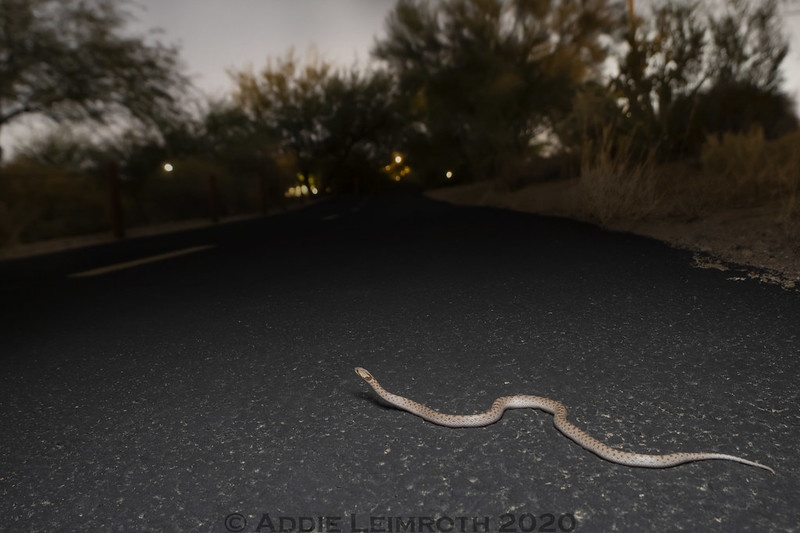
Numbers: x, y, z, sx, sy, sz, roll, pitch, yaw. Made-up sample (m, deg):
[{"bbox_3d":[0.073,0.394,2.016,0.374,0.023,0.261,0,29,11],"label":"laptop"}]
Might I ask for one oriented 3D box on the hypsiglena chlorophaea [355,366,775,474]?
[{"bbox_3d":[1.488,1.382,4.949,2.324,0.281,0.495,4,18,35],"label":"hypsiglena chlorophaea"}]
